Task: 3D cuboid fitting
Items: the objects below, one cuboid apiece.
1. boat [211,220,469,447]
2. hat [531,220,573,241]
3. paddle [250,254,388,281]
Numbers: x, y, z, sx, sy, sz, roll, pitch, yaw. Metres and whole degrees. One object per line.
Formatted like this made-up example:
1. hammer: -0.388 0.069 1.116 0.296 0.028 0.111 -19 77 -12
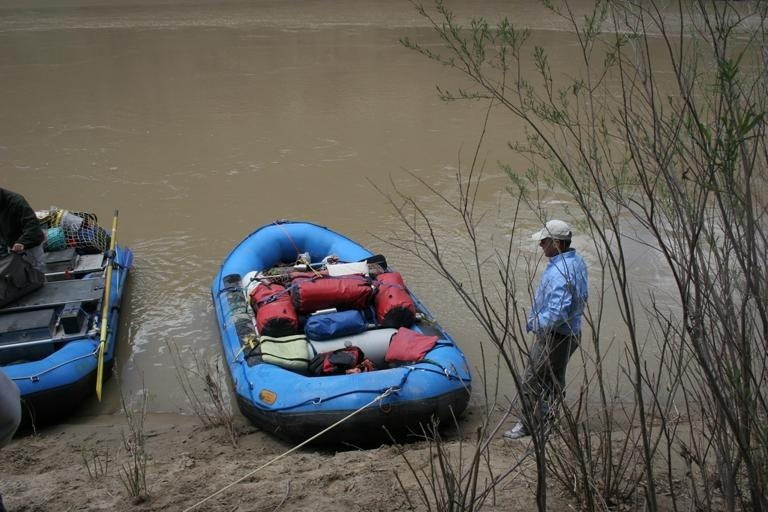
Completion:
1. boat: -0.829 0.854 10.262 2.657 2.234 4.121 -5 11 -23
2. hat: 1.835 -0.259 8.162 0.480 0.267 0.324 0 6 7
3. paddle: -0.789 0.147 10.814 1.281 0.231 0.681 -3 5 -11
